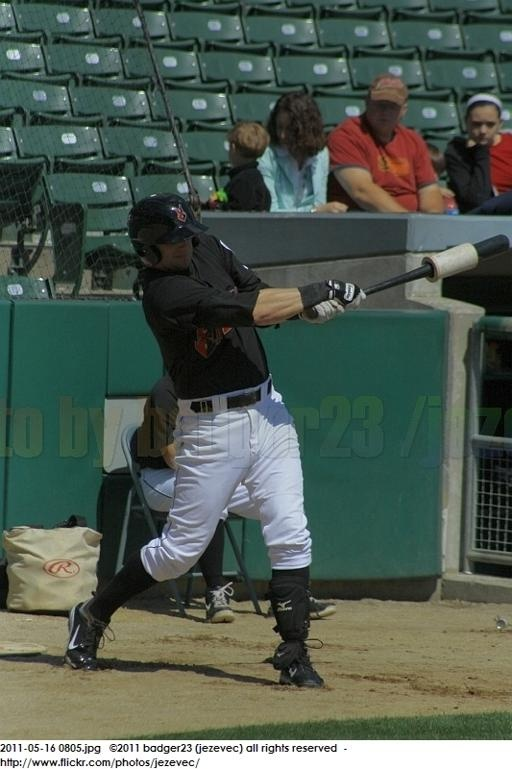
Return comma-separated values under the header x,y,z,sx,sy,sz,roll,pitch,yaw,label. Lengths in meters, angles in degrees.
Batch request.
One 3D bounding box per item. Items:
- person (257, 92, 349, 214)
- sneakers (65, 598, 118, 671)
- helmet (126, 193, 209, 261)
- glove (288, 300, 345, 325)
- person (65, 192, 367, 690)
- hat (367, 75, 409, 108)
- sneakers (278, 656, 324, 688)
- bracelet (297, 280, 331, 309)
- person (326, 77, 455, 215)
x,y,z,sx,sy,sz,roll,pitch,yaw,label
0.228,-1.399,7.023,0.764,0.826,0.744,-2,22,-2,person
-0.655,0.994,4.485,0.183,0.311,0.115,-27,-41,22,sneakers
-0.338,-0.579,4.302,0.285,0.261,0.198,-1,-2,-6,helmet
0.220,-0.268,4.259,0.123,0.043,0.087,-19,-9,16,glove
-0.177,0.203,4.362,1.044,1.826,0.536,-3,-2,24,person
0.763,-1.703,6.763,0.226,0.212,0.207,-2,-2,3,hat
0.163,1.062,4.333,0.189,0.147,0.077,0,-3,-3,sneakers
0.208,-0.319,4.205,0.112,0.090,0.031,-11,-12,18,bracelet
1.057,-1.381,6.867,0.749,0.756,1.016,-6,10,-28,person
